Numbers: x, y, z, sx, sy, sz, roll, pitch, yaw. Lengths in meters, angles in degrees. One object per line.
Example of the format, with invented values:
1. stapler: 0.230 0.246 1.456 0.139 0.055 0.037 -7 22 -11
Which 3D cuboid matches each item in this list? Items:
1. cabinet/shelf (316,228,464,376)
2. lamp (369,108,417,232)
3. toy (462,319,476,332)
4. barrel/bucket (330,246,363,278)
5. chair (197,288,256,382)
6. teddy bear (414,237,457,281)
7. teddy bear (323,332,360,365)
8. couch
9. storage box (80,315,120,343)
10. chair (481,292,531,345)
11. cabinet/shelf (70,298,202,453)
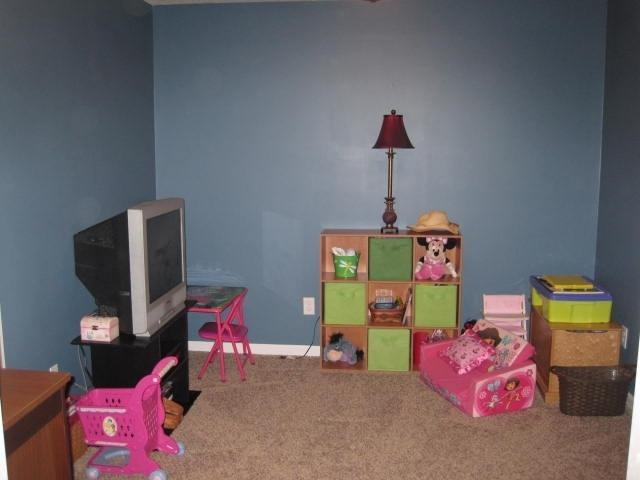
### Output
1. cabinet/shelf: 0.640 0.536 4.681 1.142 1.229 0.397 0 6 3
2. lamp: 0.642 -0.602 4.685 0.360 1.090 0.339 0 5 10
3. toy: 1.337 0.766 4.781 0.100 0.142 0.139 -29 -16 13
4. barrel/bucket: 0.226 0.209 4.709 0.240 0.252 0.234 0 0 0
5. chair: -0.857 0.859 4.709 0.458 0.689 0.434 -6 10 13
6. teddy bear: 1.016 0.176 4.685 0.323 0.403 0.182 1 6 3
7. teddy bear: 0.173 1.008 4.925 0.323 0.186 0.294 -14 10 -28
8. couch: 1.272 1.034 4.313 0.742 0.612 0.597 -1 5 -11
9. storage box: -1.556 0.631 3.728 0.240 0.171 0.169 1 0 9
10. chair: 1.583 0.690 4.777 0.379 0.538 0.383 0 3 6
11. cabinet/shelf: -1.422 0.876 4.273 0.731 1.106 1.143 1 9 4
